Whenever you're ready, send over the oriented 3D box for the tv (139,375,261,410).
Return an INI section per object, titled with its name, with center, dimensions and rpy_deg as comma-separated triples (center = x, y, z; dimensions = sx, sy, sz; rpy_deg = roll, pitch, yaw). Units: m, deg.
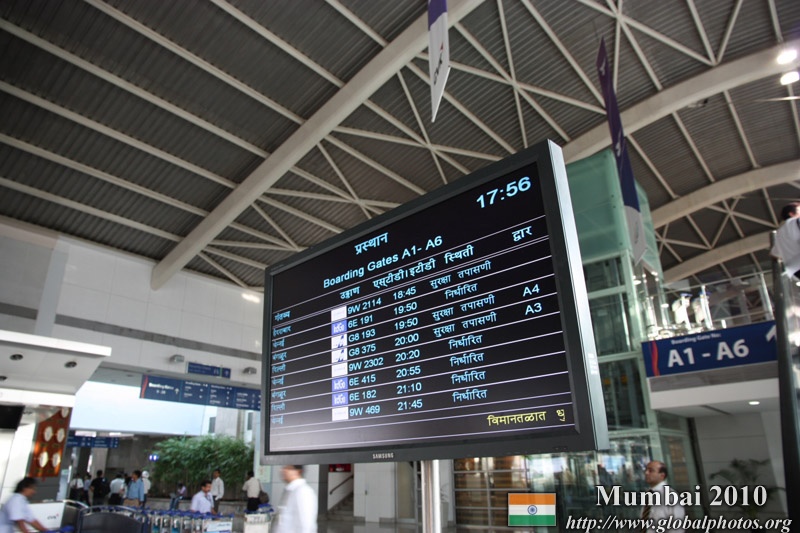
[tv]
center = -7.962, 4.993, 20.526
dimensions = 0.444, 1.049, 4.680
rpy_deg = -23, -34, 38
